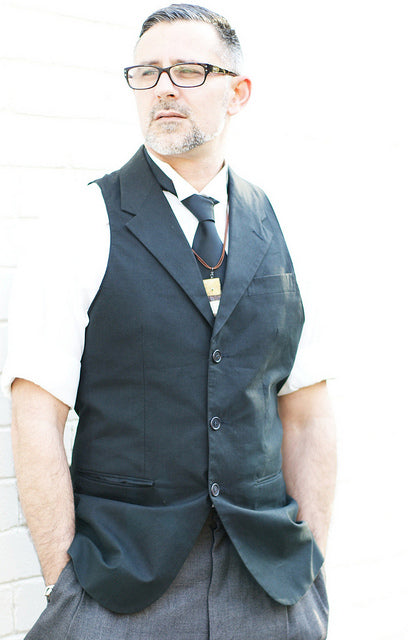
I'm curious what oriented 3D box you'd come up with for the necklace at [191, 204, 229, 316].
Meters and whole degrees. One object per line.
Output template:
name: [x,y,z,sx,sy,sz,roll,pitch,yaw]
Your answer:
necklace: [0.028,-0.118,1.282,0.069,0.209,0.026,1,-26,-8]
